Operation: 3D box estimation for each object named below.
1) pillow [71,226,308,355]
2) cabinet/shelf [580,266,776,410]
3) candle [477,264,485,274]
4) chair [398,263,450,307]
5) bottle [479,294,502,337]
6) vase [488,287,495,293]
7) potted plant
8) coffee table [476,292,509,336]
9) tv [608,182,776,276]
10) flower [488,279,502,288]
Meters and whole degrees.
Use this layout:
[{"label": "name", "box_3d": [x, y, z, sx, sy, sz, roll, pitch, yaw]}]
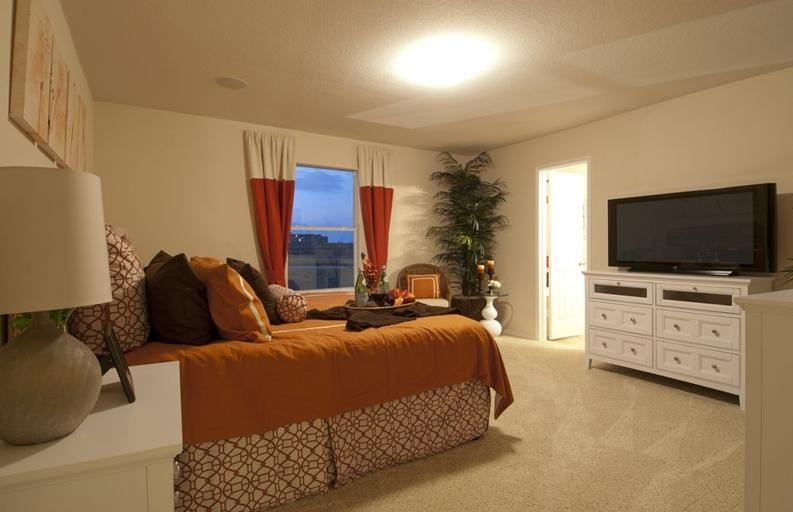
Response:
[{"label": "pillow", "box_3d": [-1.530, 0.307, 3.720, 0.866, 0.302, 1.020, 29, 11, 33]}, {"label": "cabinet/shelf", "box_3d": [2.833, 0.691, 5.499, 0.505, 1.166, 1.600, -17, 15, -40]}, {"label": "candle", "box_3d": [1.162, 0.167, 7.123, 0.123, 0.136, 0.122, 0, -2, 6]}, {"label": "chair", "box_3d": [0.359, 0.415, 7.103, 0.602, 0.534, 0.282, 0, -8, -2]}, {"label": "bottle", "box_3d": [1.270, 0.820, 7.119, 0.358, 0.560, 0.358, 0, -1, 0]}, {"label": "vase", "box_3d": [1.307, 0.453, 7.147, 0.077, 0.071, 0.078, 2, 0, 13]}, {"label": "potted plant", "box_3d": [1.104, -0.109, 7.692, 1.026, 2.207, 1.092, 1, -2, 3]}, {"label": "coffee table", "box_3d": [1.259, 0.815, 7.124, 0.367, 0.569, 0.366, 1, 2, -5]}, {"label": "tv", "box_3d": [3.001, -0.254, 5.344, 1.394, 0.815, 0.258, -1, 3, 41]}, {"label": "flower", "box_3d": [1.342, 0.367, 7.146, 0.132, 0.083, 0.175, 0, -1, 8]}]
